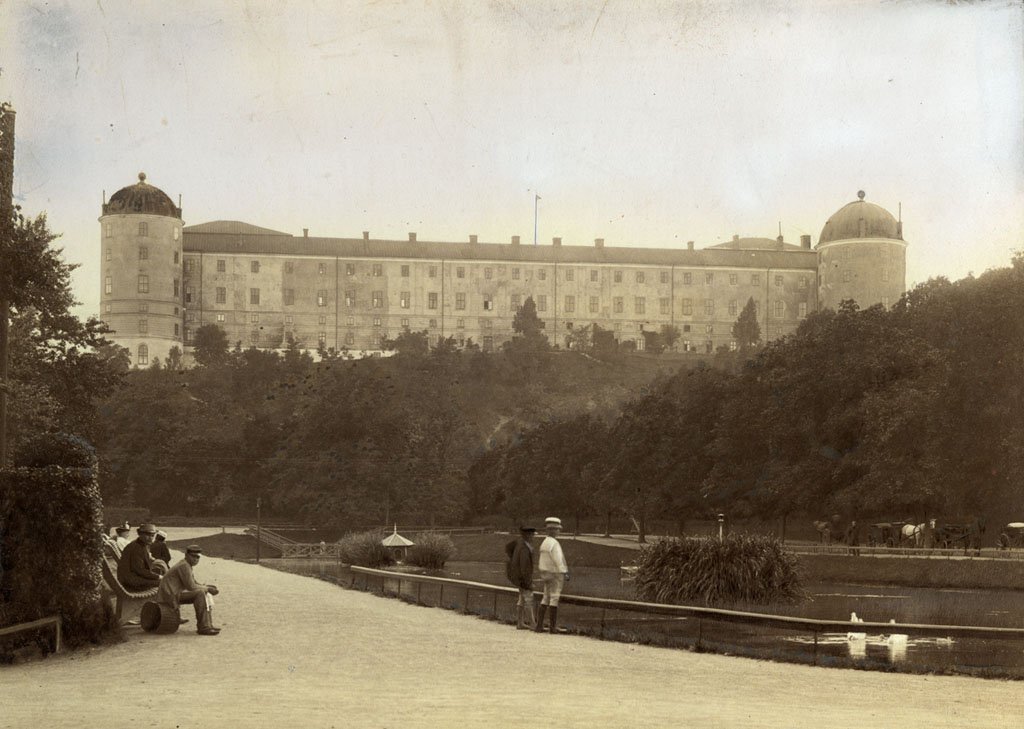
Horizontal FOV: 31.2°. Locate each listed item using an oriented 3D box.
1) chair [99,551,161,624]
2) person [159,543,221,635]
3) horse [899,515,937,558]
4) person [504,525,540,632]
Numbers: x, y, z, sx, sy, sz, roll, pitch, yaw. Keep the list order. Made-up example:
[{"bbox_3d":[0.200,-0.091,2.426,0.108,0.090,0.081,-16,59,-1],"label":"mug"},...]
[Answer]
[{"bbox_3d":[-7.892,4.582,37.660,1.123,1.403,1.027,2,2,-13],"label":"chair"},{"bbox_3d":[-6.579,4.535,37.341,1.171,1.799,0.750,1,0,-1],"label":"person"},{"bbox_3d":[12.417,5.288,56.463,0.725,1.434,2.628,-3,-14,18],"label":"horse"},{"bbox_3d":[0.158,4.477,38.672,0.686,2.146,0.901,1,3,-15],"label":"person"}]
